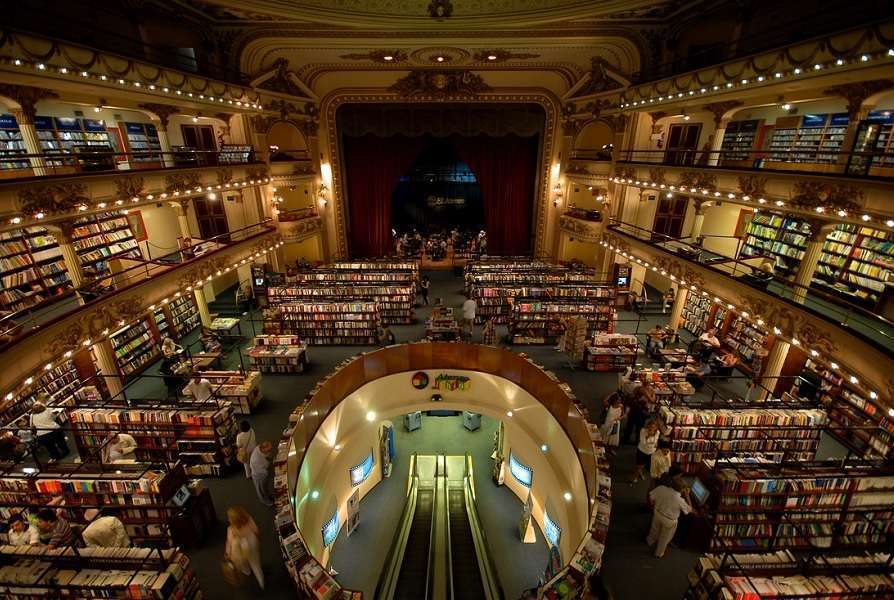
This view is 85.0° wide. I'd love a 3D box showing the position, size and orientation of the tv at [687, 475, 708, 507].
[{"bbox_3d":[5.939,4.606,11.651,0.303,0.581,0.526,12,-73,-4],"label":"tv"}]
